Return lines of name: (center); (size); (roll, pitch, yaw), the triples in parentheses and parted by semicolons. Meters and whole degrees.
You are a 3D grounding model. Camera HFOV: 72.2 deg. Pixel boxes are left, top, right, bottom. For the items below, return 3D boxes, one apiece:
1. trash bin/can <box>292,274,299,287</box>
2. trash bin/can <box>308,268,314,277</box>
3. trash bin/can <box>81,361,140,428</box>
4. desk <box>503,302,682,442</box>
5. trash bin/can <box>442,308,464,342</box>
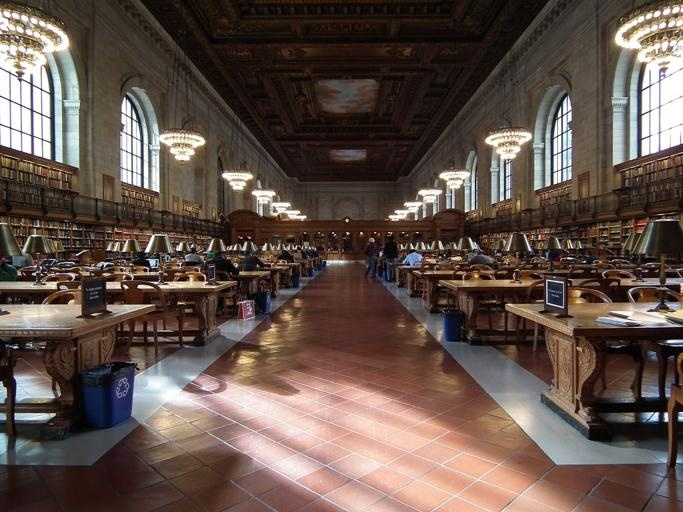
trash bin/can: (-1.464, 0.808, 14.916); (0.316, 0.321, 0.305); (-1, -3, -3)
trash bin/can: (-1.306, 0.709, 19.670); (0.283, 0.363, 0.273); (0, -8, -7)
trash bin/can: (-1.980, 1.155, 4.217); (0.429, 0.595, 0.604); (-3, -4, 20)
desk: (2.185, 0.972, 4.173); (1.189, 0.700, 1.141); (0, -13, 1)
trash bin/can: (1.646, 1.009, 6.803); (0.329, 0.421, 0.282); (-1, 7, -1)
